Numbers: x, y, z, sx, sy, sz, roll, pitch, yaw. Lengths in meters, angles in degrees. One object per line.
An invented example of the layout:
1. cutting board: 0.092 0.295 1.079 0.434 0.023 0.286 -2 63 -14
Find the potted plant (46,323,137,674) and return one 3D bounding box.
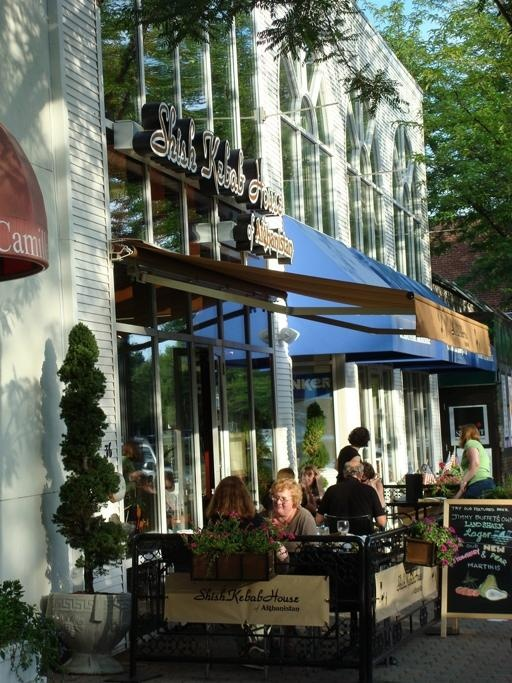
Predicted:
1. potted plant: -1.296 1.156 7.536 0.617 2.627 0.489 -3 -9 -6

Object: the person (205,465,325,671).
1. person: 0.072 1.731 7.358 1.219 1.358 1.020 -4 -39 -5

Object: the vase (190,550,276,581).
1. vase: -0.166 1.542 6.817 0.336 0.104 0.315 -1 -4 10

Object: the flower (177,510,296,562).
1. flower: -0.122 1.356 6.876 0.511 0.213 0.397 1 0 -28

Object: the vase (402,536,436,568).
1. vase: 1.342 1.677 8.027 0.226 0.245 0.370 -2 -6 25

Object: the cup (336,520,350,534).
1. cup: 0.752 1.589 8.572 0.124 0.119 0.112 1 -8 -11
